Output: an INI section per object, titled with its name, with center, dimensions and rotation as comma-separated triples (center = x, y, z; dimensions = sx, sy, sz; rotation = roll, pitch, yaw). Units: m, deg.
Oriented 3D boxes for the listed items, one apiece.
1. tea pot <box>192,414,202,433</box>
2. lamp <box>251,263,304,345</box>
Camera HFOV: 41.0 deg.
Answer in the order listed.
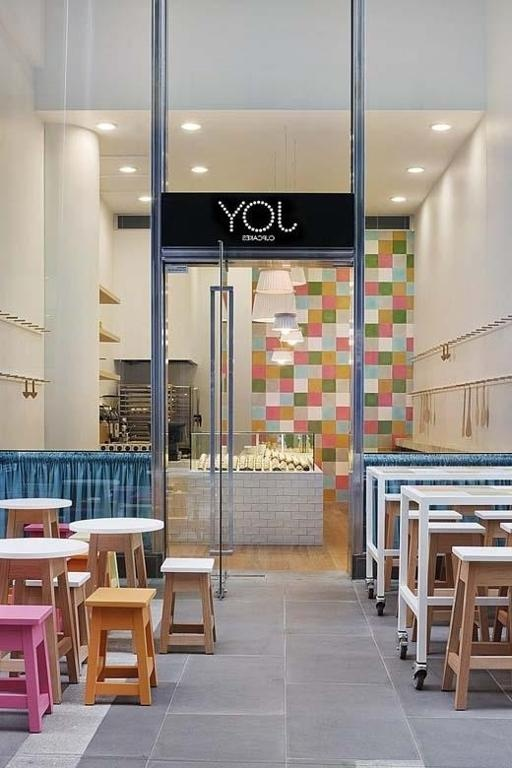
[tea pot]
center = -0.463, 0.300, 5.330
dimensions = 0.072, 0.140, 0.293
rotation = 0, -6, -5
[lamp]
center = 0.180, -0.676, 5.652
dimensions = 0.361, 0.755, 0.666
rotation = 0, -1, -2
